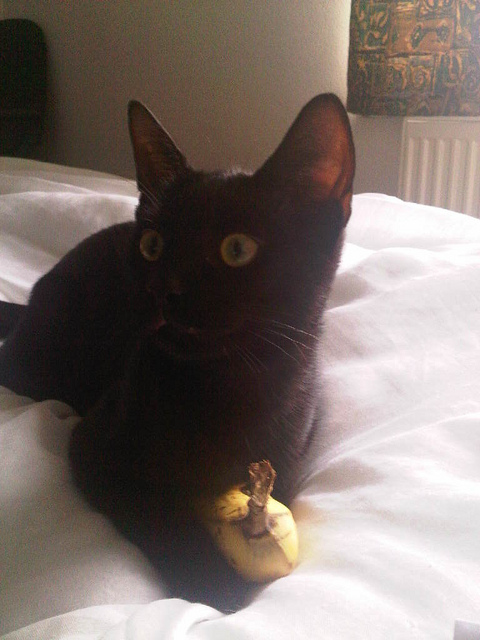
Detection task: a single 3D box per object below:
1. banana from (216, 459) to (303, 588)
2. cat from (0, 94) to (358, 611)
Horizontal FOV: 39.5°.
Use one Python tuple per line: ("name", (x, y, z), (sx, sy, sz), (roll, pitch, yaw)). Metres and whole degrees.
("banana", (0.014, 0.124, 0.381), (0.018, 0.032, 0.051), (42, 38, 20))
("cat", (-0.040, -0.002, 0.395), (0.137, 0.218, 0.289), (5, 9, -18))
